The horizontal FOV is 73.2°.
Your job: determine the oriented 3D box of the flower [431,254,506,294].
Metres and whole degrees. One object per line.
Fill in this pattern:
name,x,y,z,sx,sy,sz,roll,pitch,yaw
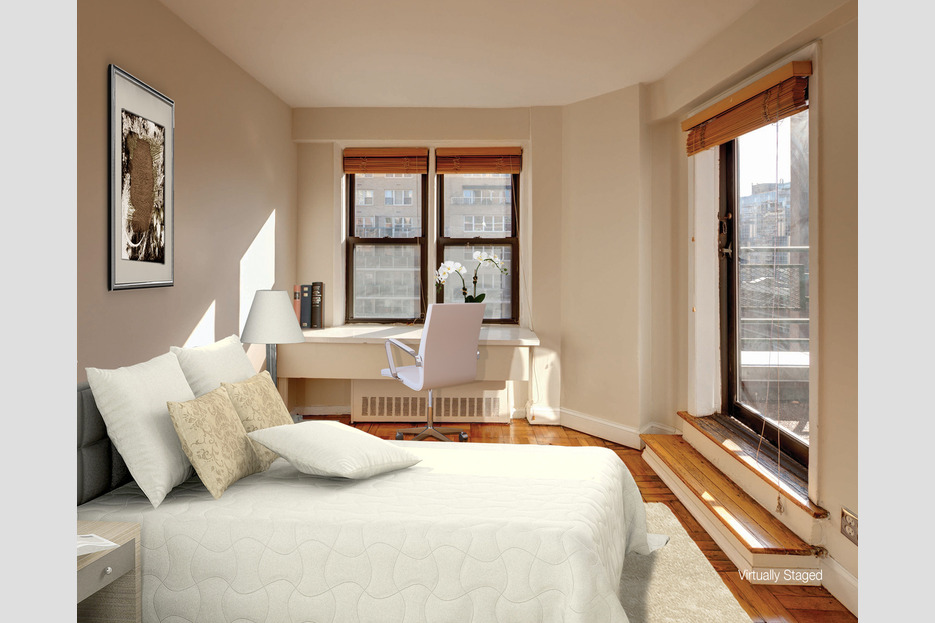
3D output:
flower,0.015,-0.323,5.222,0.407,0.467,0.409,-3,8,-26

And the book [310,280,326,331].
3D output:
book,-1.162,-0.039,4.875,0.119,0.351,0.366,0,-1,0

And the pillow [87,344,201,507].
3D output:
pillow,-1.138,0.390,2.146,0.127,0.416,0.435,-22,4,18

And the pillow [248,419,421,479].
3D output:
pillow,-0.503,0.481,2.234,0.282,0.105,0.309,16,-1,35
